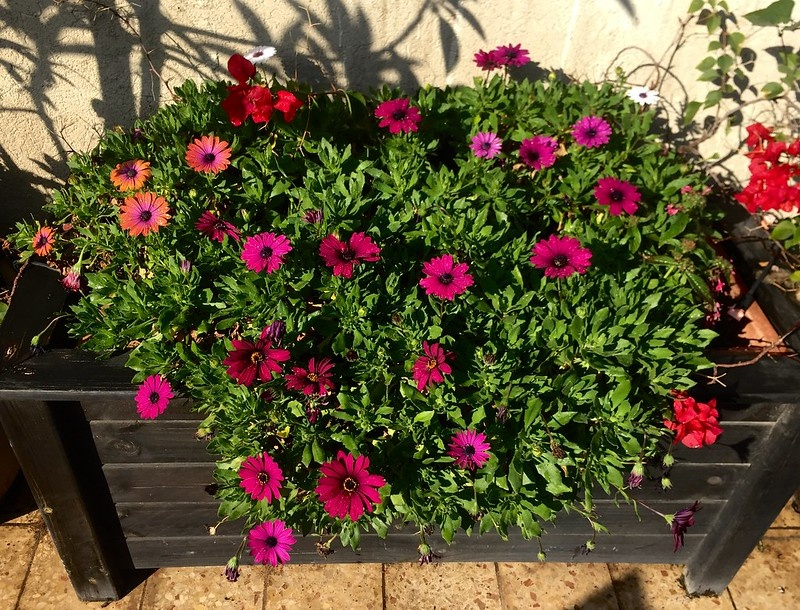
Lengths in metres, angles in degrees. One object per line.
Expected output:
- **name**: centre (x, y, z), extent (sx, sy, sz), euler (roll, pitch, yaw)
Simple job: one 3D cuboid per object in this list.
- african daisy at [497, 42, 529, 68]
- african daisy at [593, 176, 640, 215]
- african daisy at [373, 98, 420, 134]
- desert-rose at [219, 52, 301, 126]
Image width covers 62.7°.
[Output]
- **african daisy**: centre (0.468, -1.034, 2.737), extent (0.123, 0.107, 0.238), euler (8, 30, 14)
- **african daisy**: centre (0.769, -0.379, 2.351), extent (0.139, 0.139, 0.120), euler (17, 33, 28)
- **african daisy**: centre (-0.007, -0.718, 2.515), extent (0.169, 0.137, 0.207), euler (1, 29, 1)
- **desert-rose**: centre (-0.504, -0.778, 2.414), extent (0.275, 0.273, 0.332), euler (-5, 29, -8)
